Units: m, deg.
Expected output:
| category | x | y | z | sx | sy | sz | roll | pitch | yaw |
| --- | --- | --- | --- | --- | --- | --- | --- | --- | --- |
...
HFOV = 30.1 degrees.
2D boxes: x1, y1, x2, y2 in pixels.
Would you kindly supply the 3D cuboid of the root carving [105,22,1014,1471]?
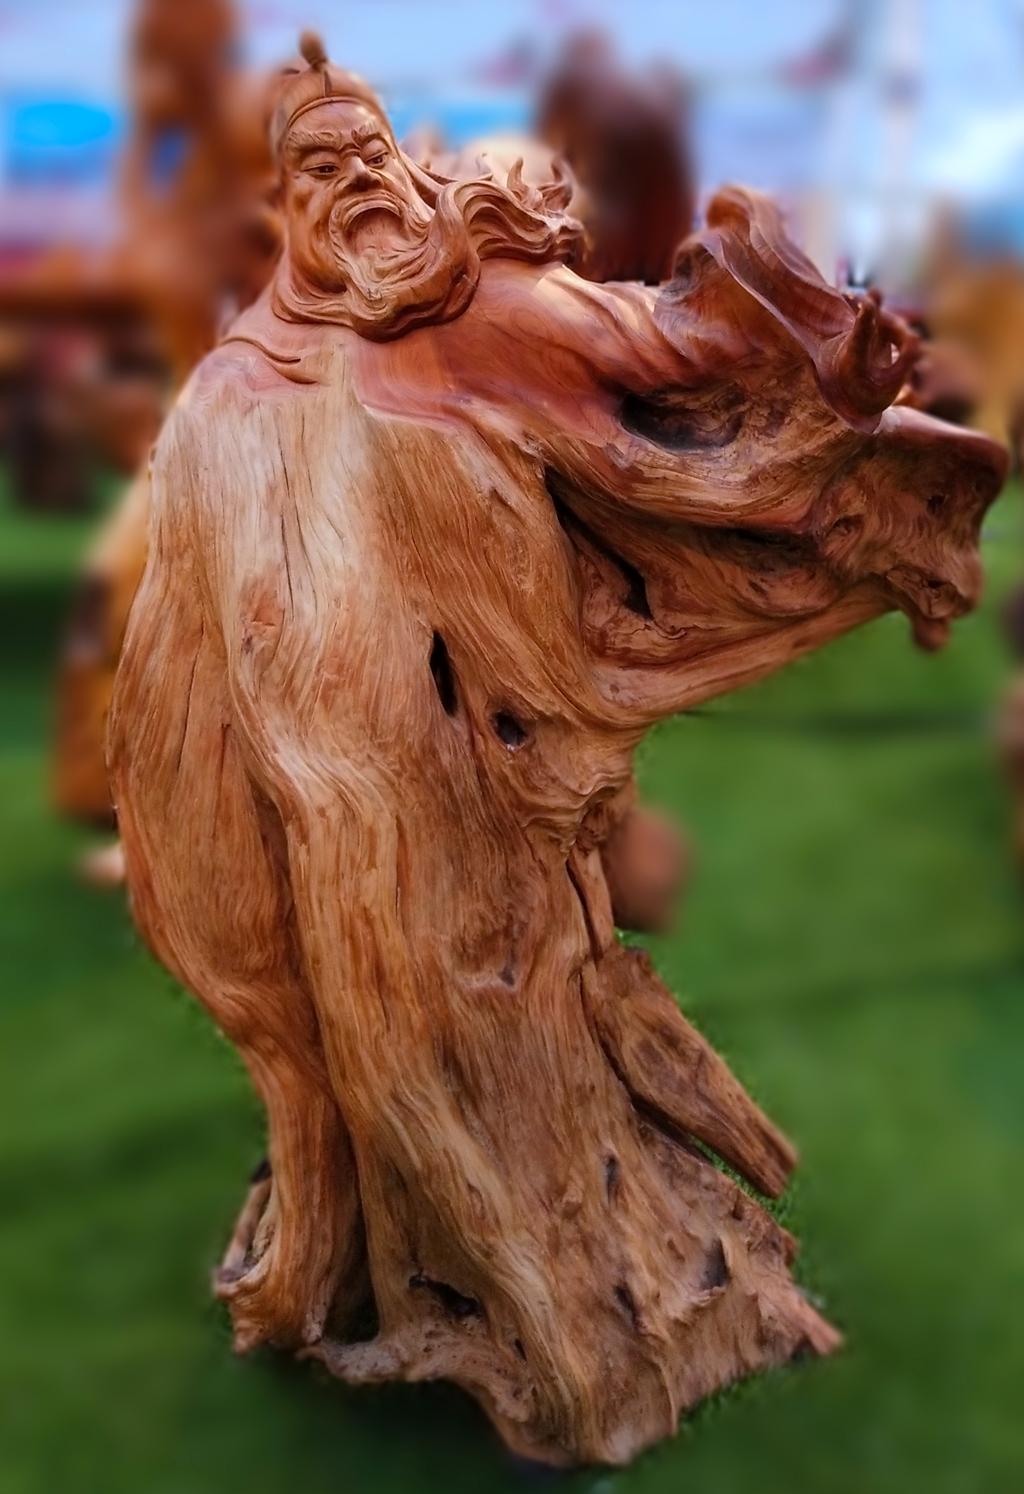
| category | x | y | z | sx | sy | sz | roll | pitch | yaw |
| --- | --- | --- | --- | --- | --- | --- | --- | --- | --- |
| root carving | 0.011 | -0.030 | 2.569 | 1.119 | 1.630 | 1.004 | 4 | 8 | 33 |
